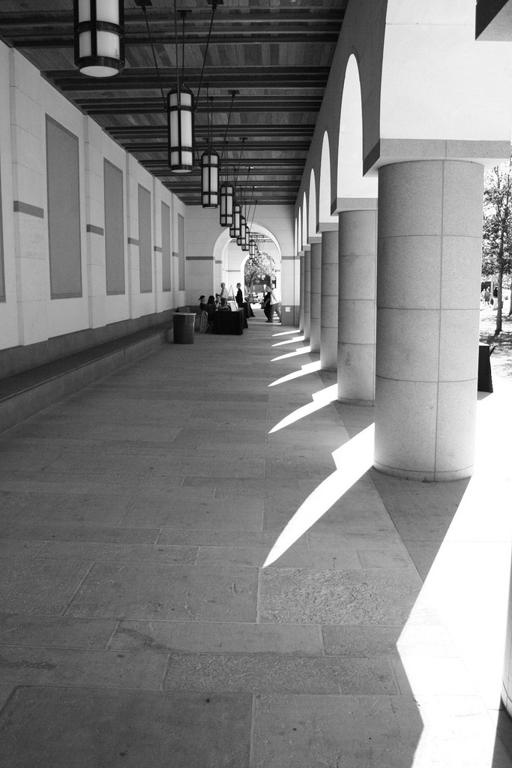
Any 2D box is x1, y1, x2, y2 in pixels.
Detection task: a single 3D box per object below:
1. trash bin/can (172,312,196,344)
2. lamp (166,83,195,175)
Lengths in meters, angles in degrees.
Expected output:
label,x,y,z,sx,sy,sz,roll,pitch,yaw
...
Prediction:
label,x,y,z,sx,sy,sz,roll,pitch,yaw
trash bin/can,-2.529,-2.057,20.371,0.637,1.423,1.101,-1,10,-1
lamp,-1.063,-3.589,8.073,0.331,0.988,0.442,0,3,-11
